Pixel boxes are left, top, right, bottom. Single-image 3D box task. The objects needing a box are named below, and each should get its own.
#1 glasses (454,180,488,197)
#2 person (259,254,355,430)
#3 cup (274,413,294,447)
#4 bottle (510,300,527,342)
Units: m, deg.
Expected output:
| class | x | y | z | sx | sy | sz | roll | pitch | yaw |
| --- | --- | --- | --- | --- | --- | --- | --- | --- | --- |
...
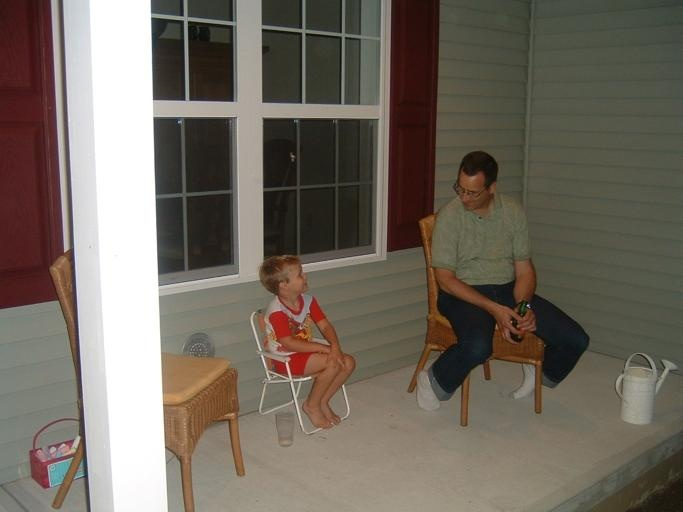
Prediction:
| class | x | y | z | sx | sy | sz | roll | pitch | yaw |
| --- | --- | --- | --- | --- | --- | --- | --- | --- | --- |
| glasses | 0.837 | -0.442 | 3.419 | 0.131 | 0.050 | 0.138 | 12 | 18 | 32 |
| person | -0.214 | 0.541 | 3.281 | 0.538 | 1.093 | 0.302 | -3 | 13 | -13 |
| cup | -0.341 | 1.009 | 3.218 | 0.098 | 0.202 | 0.146 | -1 | 13 | -5 |
| bottle | 1.099 | 0.407 | 3.367 | 0.087 | 0.239 | 0.157 | 6 | 14 | 20 |
